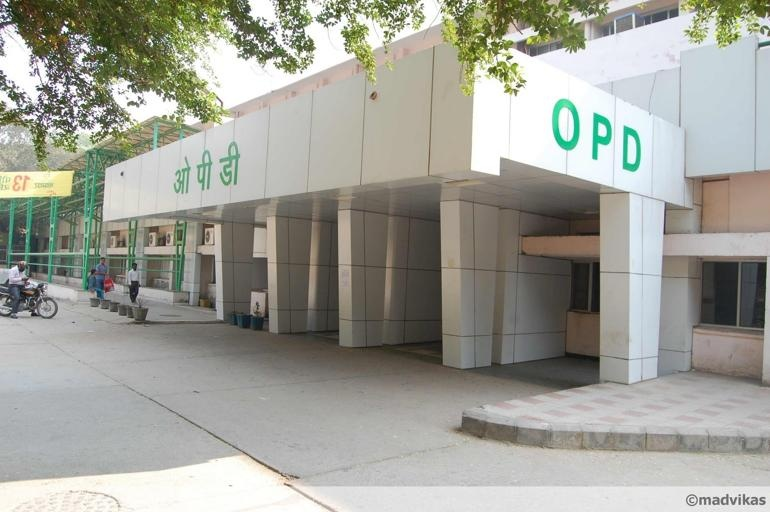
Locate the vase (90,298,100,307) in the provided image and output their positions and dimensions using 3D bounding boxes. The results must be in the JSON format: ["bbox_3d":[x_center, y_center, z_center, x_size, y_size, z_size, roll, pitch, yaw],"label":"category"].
[{"bbox_3d":[-12.874,2.010,23.864,0.575,0.384,0.213,5,6,20],"label":"vase"}]

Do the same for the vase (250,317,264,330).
[{"bbox_3d":[-4.668,2.431,19.761,0.550,0.377,0.485,5,-13,-33],"label":"vase"}]

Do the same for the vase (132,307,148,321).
[{"bbox_3d":[-8.929,2.074,19.669,0.582,0.427,0.580,4,0,32],"label":"vase"}]

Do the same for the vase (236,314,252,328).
[{"bbox_3d":[-5.280,2.405,20.067,0.519,0.398,0.588,7,-9,-33],"label":"vase"}]

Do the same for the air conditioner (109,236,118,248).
[{"bbox_3d":[-20.971,-1.159,41.567,0.294,0.846,1.201,-2,7,-42],"label":"air conditioner"}]

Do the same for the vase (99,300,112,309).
[{"bbox_3d":[-12.018,2.068,23.056,0.541,0.360,0.530,-1,-5,23],"label":"vase"}]

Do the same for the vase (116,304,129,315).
[{"bbox_3d":[-10.384,2.120,21.317,0.556,0.374,0.533,3,-5,-10],"label":"vase"}]

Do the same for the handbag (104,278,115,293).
[{"bbox_3d":[-13.230,1.337,25.779,0.293,0.755,1.377,1,5,-23],"label":"handbag"}]

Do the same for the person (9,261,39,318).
[{"bbox_3d":[-12.812,1.136,18.831,0.597,1.958,1.016,-1,7,-34],"label":"person"}]
